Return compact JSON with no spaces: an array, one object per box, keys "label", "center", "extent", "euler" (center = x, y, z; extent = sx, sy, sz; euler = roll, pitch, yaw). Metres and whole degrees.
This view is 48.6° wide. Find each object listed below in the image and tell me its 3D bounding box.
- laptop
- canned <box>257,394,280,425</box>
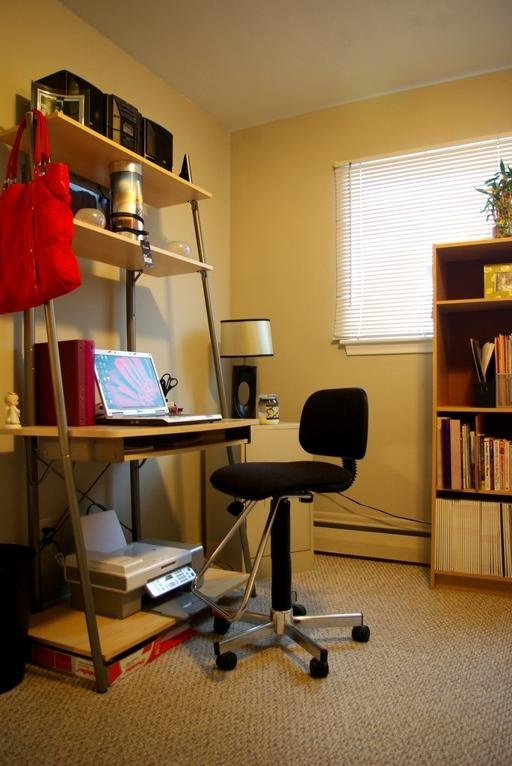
[{"label":"laptop","center":[-0.358,0.017,2.026],"extent":[0.279,0.219,0.324],"euler":[1,-2,20]},{"label":"canned","center":[0.059,0.122,2.728],"extent":[0.118,0.142,0.093],"euler":[-2,-3,27]}]
